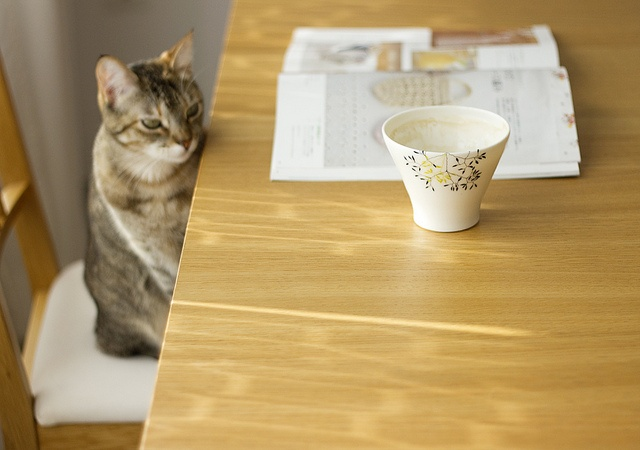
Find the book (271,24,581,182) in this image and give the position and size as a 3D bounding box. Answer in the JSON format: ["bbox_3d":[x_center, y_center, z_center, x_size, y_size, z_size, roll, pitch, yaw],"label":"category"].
[{"bbox_3d":[0.179,-0.207,0.979,0.488,0.093,0.352,0,53,3],"label":"book"}]

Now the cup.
[{"bbox_3d":[0.185,-0.080,0.708,0.177,0.119,0.156,11,40,23],"label":"cup"}]
